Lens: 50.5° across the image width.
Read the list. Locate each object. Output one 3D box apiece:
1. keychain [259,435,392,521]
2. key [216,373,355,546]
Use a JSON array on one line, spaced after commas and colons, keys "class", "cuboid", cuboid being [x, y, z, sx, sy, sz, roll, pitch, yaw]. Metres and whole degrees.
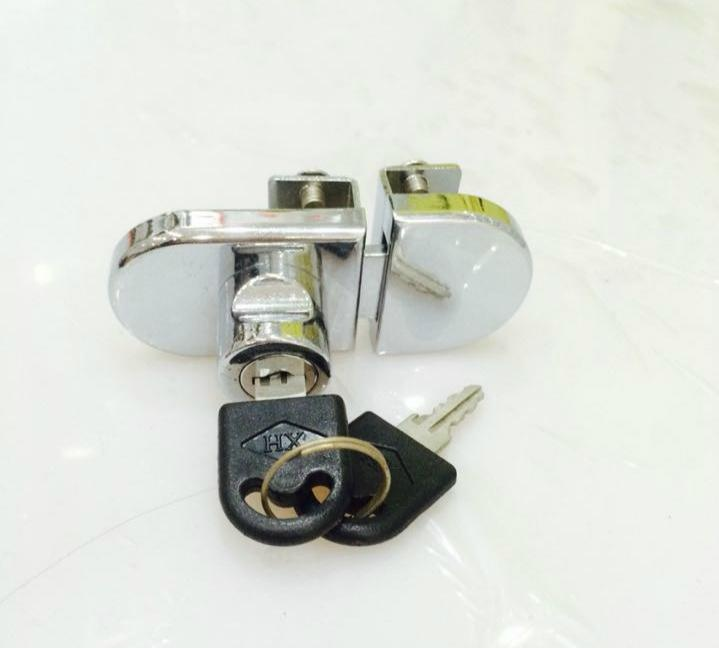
[{"class": "keychain", "cuboid": [-0.033, 0.165, 0.809, 0.139, 0.101, 0.078, 0, 75, -3]}, {"class": "key", "cuboid": [-0.081, 0.163, 0.831, 0.141, 0.050, 0.203, -4, 35, -8]}]
